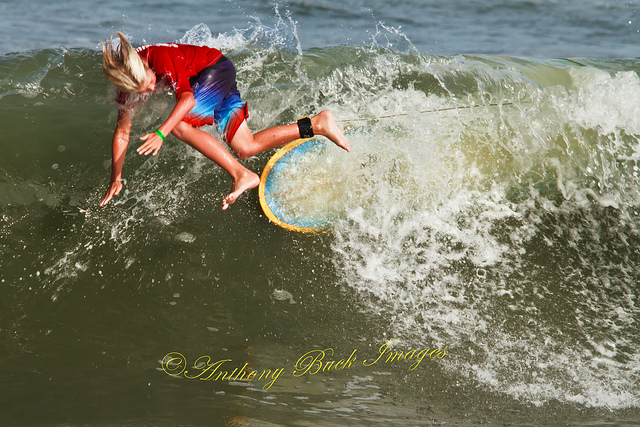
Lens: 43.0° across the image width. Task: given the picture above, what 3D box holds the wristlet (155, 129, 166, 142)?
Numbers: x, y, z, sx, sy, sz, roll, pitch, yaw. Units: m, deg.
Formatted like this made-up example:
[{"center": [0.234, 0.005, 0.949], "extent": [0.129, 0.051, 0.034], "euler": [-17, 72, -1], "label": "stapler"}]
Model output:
[{"center": [-1.992, -0.980, 10.152], "extent": [0.032, 0.118, 0.127], "euler": [-42, 49, -12], "label": "wristlet"}]
